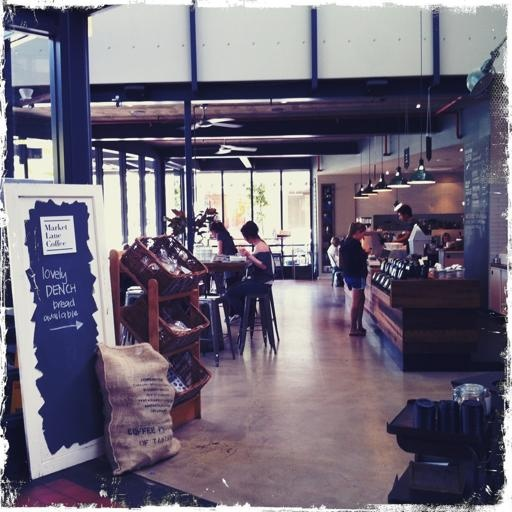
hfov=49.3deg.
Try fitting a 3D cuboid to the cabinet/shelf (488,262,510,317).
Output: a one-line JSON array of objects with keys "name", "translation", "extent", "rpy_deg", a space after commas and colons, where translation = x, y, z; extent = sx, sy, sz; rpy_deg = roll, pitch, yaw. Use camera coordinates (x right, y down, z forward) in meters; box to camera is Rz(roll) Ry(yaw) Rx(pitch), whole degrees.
[{"name": "cabinet/shelf", "translation": [3.306, 0.437, 7.579], "extent": [0.209, 0.726, 0.670], "rpy_deg": [0, 3, 6]}]

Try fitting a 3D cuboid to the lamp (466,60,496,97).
[{"name": "lamp", "translation": [2.031, -1.573, 5.004], "extent": [0.156, 0.237, 0.275], "rpy_deg": [0, 4, -21]}]

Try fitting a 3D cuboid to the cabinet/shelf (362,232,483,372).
[{"name": "cabinet/shelf", "translation": [1.839, 0.597, 6.297], "extent": [0.885, 1.058, 1.418], "rpy_deg": [1, 4, 2]}]

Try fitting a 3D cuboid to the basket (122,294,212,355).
[{"name": "basket", "translation": [-0.672, 0.497, 4.304], "extent": [0.417, 0.439, 0.695], "rpy_deg": [2, 4, 25]}]

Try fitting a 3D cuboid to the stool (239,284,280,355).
[{"name": "stool", "translation": [0.064, 0.749, 7.003], "extent": [0.572, 1.119, 0.689], "rpy_deg": [-1, -3, -3]}]

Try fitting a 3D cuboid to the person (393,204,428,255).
[{"name": "person", "translation": [2.592, -0.409, 9.601], "extent": [0.331, 1.109, 0.485], "rpy_deg": [1, 46, 22]}]
